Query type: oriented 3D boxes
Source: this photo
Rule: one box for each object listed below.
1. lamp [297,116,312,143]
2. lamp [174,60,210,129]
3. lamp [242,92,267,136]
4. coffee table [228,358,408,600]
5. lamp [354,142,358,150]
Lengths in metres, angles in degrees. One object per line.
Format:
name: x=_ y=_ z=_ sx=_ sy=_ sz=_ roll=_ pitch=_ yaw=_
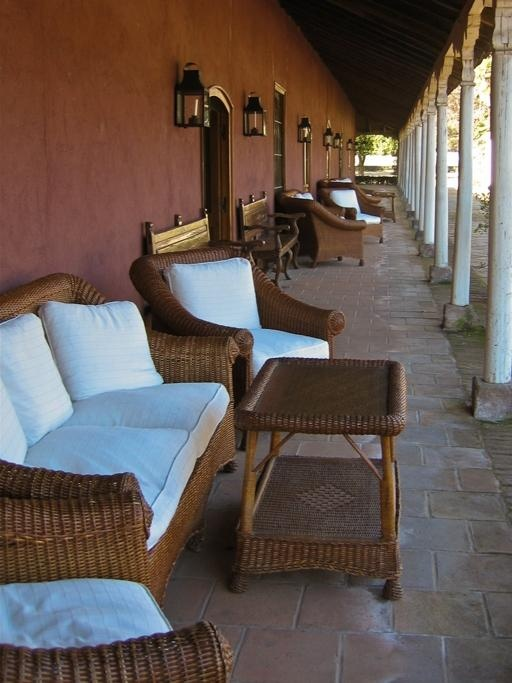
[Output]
lamp: x=0.914 y=-4.115 z=10.792 sx=0.256 sy=0.432 sz=0.503 roll=-2 pitch=11 yaw=4
lamp: x=-0.552 y=-2.132 z=4.784 sx=0.277 sy=0.578 sz=0.434 roll=-2 pitch=11 yaw=1
lamp: x=-0.032 y=-2.813 z=6.954 sx=0.274 sy=0.424 sz=0.260 roll=-2 pitch=11 yaw=-1
coffee table: x=0.226 y=0.445 z=2.127 sx=0.576 sy=0.608 sz=0.818 roll=1 pitch=14 yaw=6
lamp: x=6.402 y=-12.487 z=35.354 sx=0.123 sy=0.513 sz=0.545 roll=3 pitch=12 yaw=25
